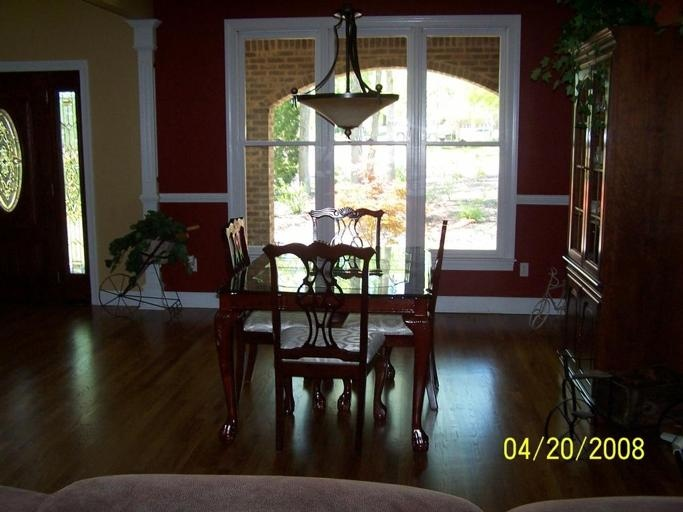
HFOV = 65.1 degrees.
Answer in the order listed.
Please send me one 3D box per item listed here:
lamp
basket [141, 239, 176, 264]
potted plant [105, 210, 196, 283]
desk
[{"bbox_3d":[-0.020,-1.288,3.773,0.607,0.867,1.657,-1,12,-4],"label":"lamp"},{"bbox_3d":[-1.813,-0.060,5.323,0.265,0.078,0.266,-8,28,41],"label":"basket"},{"bbox_3d":[-1.899,-0.098,5.403,0.876,0.759,0.650,0,11,2],"label":"potted plant"},{"bbox_3d":[-0.105,0.421,3.277,1.307,1.218,1.028,2,11,10],"label":"desk"}]
